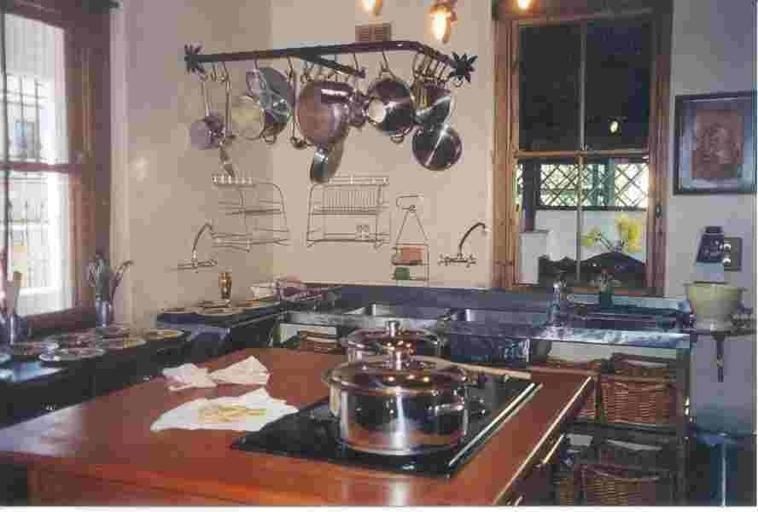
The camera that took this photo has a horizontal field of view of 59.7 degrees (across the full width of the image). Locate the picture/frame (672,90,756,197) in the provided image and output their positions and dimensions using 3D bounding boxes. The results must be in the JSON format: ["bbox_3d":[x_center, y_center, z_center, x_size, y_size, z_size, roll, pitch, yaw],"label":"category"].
[{"bbox_3d":[2.425,-0.814,4.710,0.823,0.900,0.068,0,3,10],"label":"picture/frame"}]

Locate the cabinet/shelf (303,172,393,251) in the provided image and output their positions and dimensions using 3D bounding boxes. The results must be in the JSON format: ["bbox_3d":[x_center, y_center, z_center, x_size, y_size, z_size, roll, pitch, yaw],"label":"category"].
[{"bbox_3d":[-0.242,-0.343,5.363,0.629,0.548,0.371,1,4,0],"label":"cabinet/shelf"}]

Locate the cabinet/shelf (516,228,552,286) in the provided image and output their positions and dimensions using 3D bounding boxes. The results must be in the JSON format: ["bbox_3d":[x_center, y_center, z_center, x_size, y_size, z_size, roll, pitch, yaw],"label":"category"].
[{"bbox_3d":[1.192,0.012,5.150,0.384,0.556,0.354,0,-1,14],"label":"cabinet/shelf"}]

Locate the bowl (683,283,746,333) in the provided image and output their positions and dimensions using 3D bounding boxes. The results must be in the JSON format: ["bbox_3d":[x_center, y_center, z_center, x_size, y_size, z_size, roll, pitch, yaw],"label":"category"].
[{"bbox_3d":[2.248,0.350,4.455,0.401,0.315,0.380,2,-1,0],"label":"bowl"}]

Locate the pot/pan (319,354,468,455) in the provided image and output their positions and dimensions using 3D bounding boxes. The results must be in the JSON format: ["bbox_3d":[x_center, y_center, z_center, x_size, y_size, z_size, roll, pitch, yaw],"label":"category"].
[{"bbox_3d":[0.066,0.525,2.442,0.532,0.289,0.535,2,-3,21],"label":"pot/pan"}]

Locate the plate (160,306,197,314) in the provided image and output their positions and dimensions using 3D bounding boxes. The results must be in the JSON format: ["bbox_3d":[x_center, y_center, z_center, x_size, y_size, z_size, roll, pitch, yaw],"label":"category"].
[{"bbox_3d":[-1.198,0.327,3.954,0.113,0.025,0.116,-2,-3,44],"label":"plate"}]

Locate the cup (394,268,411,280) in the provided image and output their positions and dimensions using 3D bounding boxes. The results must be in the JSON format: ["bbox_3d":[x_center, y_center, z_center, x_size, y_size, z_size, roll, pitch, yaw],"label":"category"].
[{"bbox_3d":[0.177,0.139,5.158,0.141,0.096,0.090,0,5,0],"label":"cup"}]

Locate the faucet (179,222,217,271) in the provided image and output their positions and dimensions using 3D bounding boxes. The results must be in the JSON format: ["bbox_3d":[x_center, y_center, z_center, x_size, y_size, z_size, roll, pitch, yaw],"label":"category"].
[{"bbox_3d":[-1.243,-0.056,4.519,0.111,0.336,0.402,1,5,11],"label":"faucet"}]

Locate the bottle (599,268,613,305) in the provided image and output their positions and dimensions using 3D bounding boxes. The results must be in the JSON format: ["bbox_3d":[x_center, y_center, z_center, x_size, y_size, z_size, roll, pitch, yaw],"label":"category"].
[{"bbox_3d":[1.564,0.218,4.539,0.080,0.218,0.238,2,5,19],"label":"bottle"}]

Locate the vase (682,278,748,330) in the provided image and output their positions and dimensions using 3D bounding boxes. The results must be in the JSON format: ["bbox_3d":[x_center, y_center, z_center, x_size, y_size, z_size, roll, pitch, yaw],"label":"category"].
[{"bbox_3d":[2.253,0.350,4.461,0.393,0.313,0.359,0,-1,21],"label":"vase"}]

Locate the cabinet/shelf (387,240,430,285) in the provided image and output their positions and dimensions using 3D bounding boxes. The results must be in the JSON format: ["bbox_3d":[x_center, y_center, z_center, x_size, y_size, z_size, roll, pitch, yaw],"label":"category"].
[{"bbox_3d":[0.308,0.078,5.233,0.389,0.350,0.230,2,6,31],"label":"cabinet/shelf"}]

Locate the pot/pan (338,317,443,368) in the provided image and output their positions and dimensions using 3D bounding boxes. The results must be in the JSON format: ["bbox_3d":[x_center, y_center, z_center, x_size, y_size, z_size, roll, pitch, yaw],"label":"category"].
[{"bbox_3d":[0.049,0.355,2.789,0.464,0.162,0.440,0,1,-28],"label":"pot/pan"}]
